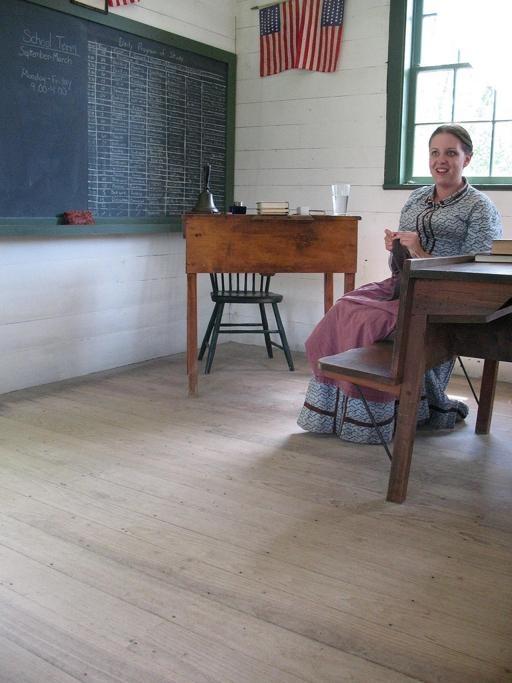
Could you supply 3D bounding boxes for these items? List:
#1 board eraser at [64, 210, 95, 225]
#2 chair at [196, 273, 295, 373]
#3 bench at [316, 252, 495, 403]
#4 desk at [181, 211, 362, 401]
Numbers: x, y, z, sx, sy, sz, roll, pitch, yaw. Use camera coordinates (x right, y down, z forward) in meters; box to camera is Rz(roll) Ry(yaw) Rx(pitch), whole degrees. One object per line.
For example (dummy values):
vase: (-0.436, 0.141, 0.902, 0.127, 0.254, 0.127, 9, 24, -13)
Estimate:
board eraser: (-0.989, -0.706, 3.200, 0.095, 0.094, 0.263, 3, 7, 21)
chair: (-0.077, -0.218, 3.693, 0.620, 0.718, 0.567, -3, 13, -23)
bench: (0.541, -0.037, 2.037, 0.842, 0.471, 0.312, -10, 18, -41)
desk: (0.045, -0.262, 3.269, 1.006, 0.867, 0.732, -1, 7, -13)
